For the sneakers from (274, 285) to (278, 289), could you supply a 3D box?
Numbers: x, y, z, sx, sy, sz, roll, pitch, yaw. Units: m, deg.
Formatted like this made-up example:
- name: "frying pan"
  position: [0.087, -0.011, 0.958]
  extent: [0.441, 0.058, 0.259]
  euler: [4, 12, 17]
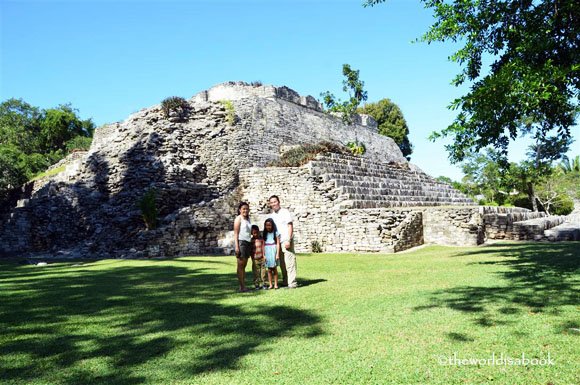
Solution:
- name: "sneakers"
  position: [-0.347, 2.301, 8.949]
  extent: [0.046, 0.066, 0.151]
  euler: [-4, -43, 6]

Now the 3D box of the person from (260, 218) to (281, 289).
- name: "person"
  position: [-0.461, 1.491, 9.121]
  extent: [0.428, 1.716, 0.538]
  euler: [-1, 7, 10]

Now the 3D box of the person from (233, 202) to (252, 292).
- name: "person"
  position: [-1.186, 1.366, 9.330]
  extent: [0.439, 2.245, 1.378]
  euler: [-3, 7, -9]

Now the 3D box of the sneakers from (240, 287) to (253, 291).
- name: "sneakers"
  position: [-1.048, 2.336, 8.844]
  extent: [0.359, 0.141, 0.114]
  euler: [-16, -15, 41]
